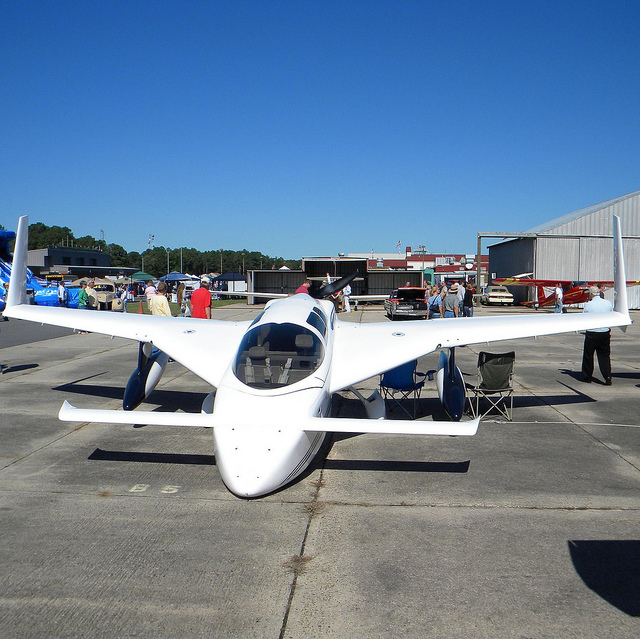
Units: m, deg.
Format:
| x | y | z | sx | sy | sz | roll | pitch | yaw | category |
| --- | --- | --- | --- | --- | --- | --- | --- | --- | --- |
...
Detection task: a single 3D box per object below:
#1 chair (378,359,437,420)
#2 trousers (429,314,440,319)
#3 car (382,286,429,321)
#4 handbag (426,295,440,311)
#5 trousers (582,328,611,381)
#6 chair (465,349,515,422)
| x | y | z | sx | sy | sz | roll | pitch | yaw | category |
| --- | --- | --- | --- | --- | --- | --- | --- | --- | --- |
| 1.193 | 0.966 | 7.990 | 0.624 | 0.838 | 0.635 | 2 | -5 | 20 | chair |
| 3.033 | -0.032 | 14.348 | 0.193 | 0.150 | 0.113 | -1 | -7 | 16 | trousers |
| 4.027 | -0.778 | 25.861 | 1.347 | 1.152 | 3.125 | 0 | 7 | 2 | car |
| 3.051 | -0.383 | 14.668 | 0.240 | 0.348 | 0.348 | -1 | 4 | 11 | handbag |
| 5.087 | 0.672 | 9.983 | 0.466 | 0.979 | 0.486 | 3 | 7 | 26 | trousers |
| 2.554 | 1.010 | 7.910 | 0.583 | 0.964 | 0.673 | 4 | -11 | 10 | chair |
